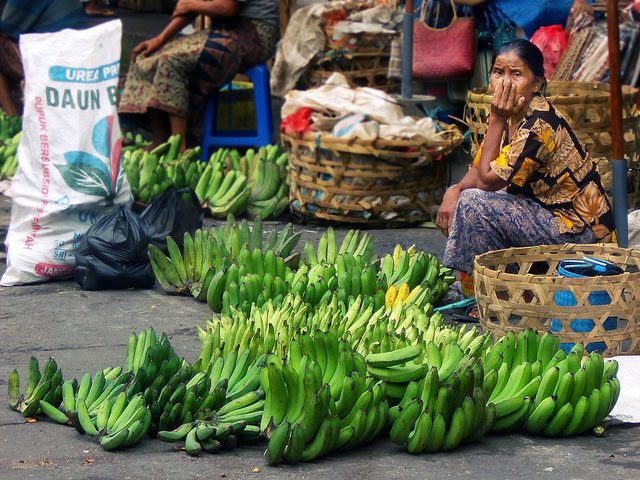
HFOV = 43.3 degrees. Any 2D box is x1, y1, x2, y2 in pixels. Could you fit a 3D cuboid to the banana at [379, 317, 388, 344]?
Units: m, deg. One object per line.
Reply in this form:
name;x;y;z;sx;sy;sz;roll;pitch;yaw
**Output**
banana;0.301;0.422;3.806;0.022;0.112;0.037;18;-23;-5

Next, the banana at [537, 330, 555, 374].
banana;1.039;0.499;3.713;0.048;0.205;0.061;-8;14;-41

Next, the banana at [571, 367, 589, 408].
banana;1.145;0.644;3.558;0.047;0.198;0.061;9;1;-8

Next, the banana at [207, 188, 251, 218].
banana;-0.722;-0.351;6.487;0.358;0.080;0.127;-8;-21;-34

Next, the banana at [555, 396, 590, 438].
banana;1.123;0.780;3.577;0.064;0.246;0.084;-3;32;-33

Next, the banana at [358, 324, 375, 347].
banana;0.230;0.439;3.800;0.036;0.146;0.053;17;-34;24

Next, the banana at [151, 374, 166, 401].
banana;-0.700;0.633;3.531;0.030;0.042;0.125;15;47;-1

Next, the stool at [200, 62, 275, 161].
stool;-0.775;-1.350;8.274;0.822;1.234;0.836;0;12;6

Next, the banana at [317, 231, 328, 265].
banana;0.028;0.049;5.182;0.050;0.209;0.064;5;-6;-20

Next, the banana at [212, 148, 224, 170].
banana;-0.903;-0.746;7.244;0.053;0.217;0.071;19;-36;3

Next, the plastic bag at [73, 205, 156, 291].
plastic bag;-1.271;0.040;5.099;0.544;0.556;0.318;-1;17;-35

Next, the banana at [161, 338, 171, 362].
banana;-0.703;0.502;3.704;0.025;0.100;0.032;-1;-1;-28

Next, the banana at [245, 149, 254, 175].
banana;-0.616;-0.717;7.161;0.064;0.211;0.054;-9;-19;17

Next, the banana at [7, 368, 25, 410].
banana;-1.375;0.658;3.660;0.064;0.189;0.161;-1;6;-25

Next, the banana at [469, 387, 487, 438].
banana;0.668;0.724;3.446;0.047;0.214;0.068;-19;29;-40

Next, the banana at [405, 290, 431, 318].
banana;0.525;0.340;4.313;0.035;0.060;0.157;20;45;22

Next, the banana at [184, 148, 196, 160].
banana;-1.162;-0.777;7.287;0.040;0.138;0.049;41;-41;-17

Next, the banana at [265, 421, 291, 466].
banana;-0.167;0.818;3.265;0.060;0.213;0.068;0;38;-25

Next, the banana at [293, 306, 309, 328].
banana;-0.095;0.372;3.962;0.030;0.119;0.042;28;34;-2

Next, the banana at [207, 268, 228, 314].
banana;-0.584;0.287;4.648;0.066;0.230;0.160;11;11;15

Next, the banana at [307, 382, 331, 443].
banana;-0.001;0.709;3.318;0.075;0.239;0.046;10;7;26

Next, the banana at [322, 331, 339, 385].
banana;0.055;0.500;3.546;0.052;0.258;0.080;-3;5;-35

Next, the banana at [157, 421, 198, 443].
banana;-0.594;0.805;3.419;0.140;0.042;0.047;-17;55;-34

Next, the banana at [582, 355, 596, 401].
banana;1.197;0.604;3.578;0.043;0.198;0.061;-5;5;-36

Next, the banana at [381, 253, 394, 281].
banana;0.418;0.154;4.934;0.056;0.053;0.179;21;45;-8

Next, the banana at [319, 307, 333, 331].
banana;0.031;0.383;3.957;0.026;0.047;0.131;-3;38;32

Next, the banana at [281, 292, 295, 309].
banana;-0.162;0.312;4.208;0.034;0.045;0.123;5;30;13

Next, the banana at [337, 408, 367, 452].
banana;0.133;0.785;3.395;0.038;0.187;0.064;12;24;-41

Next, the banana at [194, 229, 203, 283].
banana;-0.752;0.094;5.025;0.055;0.306;0.099;1;-1;23

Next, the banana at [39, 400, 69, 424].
banana;-1.167;0.750;3.544;0.179;0.098;0.075;6;7;43

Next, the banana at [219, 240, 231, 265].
banana;-0.583;0.069;4.993;0.043;0.175;0.060;-7;23;11

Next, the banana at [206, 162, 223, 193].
banana;-0.903;-0.577;6.925;0.061;0.318;0.105;16;-20;4

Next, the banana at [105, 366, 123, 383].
banana;-0.940;0.608;3.693;0.031;0.040;0.120;7;29;34

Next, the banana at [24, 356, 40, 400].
banana;-1.287;0.605;3.618;0.053;0.239;0.073;4;8;-30

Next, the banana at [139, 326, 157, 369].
banana;-0.789;0.473;3.766;0.044;0.229;0.076;19;-31;-6

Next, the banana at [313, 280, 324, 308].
banana;-0.002;0.293;4.501;0.038;0.156;0.049;14;-7;-29

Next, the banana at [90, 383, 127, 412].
banana;-0.918;0.684;3.513;0.116;0.025;0.040;-41;35;-21

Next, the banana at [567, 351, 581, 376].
banana;1.139;0.543;3.606;0.032;0.127;0.042;4;-19;-7

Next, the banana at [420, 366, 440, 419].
banana;0.475;0.627;3.440;0.048;0.241;0.075;-4;5;-27

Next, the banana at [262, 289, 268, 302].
banana;-0.292;0.298;4.382;0.025;0.061;0.053;1;5;-4

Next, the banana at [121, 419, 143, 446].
banana;-0.774;0.790;3.346;0.051;0.157;0.041;11;36;-30

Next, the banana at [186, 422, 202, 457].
banana;-0.531;0.834;3.409;0.049;0.037;0.150;2;39;1

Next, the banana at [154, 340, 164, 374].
banana;-0.732;0.520;3.678;0.031;0.126;0.040;0;1;-11

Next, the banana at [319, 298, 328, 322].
banana;0.017;0.348;4.086;0.024;0.037;0.099;-2;33;13

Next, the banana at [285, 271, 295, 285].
banana;-0.169;0.218;4.744;0.044;0.063;0.036;6;-30;24

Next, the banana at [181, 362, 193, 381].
banana;-0.593;0.576;3.636;0.017;0.045;0.057;0;32;10

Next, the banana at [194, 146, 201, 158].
banana;-1.108;-0.804;7.395;0.049;0.097;0.159;1;5;-6

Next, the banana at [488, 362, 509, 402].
banana;0.819;0.629;3.637;0.050;0.225;0.073;8;8;-28

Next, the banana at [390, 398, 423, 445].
banana;0.362;0.765;3.444;0.072;0.259;0.084;15;31;-19

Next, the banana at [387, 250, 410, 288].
banana;0.479;0.181;4.876;0.068;0.210;0.047;4;-35;52

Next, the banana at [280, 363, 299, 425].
banana;-0.122;0.625;3.446;0.092;0.286;0.058;8;13;19

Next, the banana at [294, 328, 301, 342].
banana;-0.096;0.427;3.658;0.016;0.057;0.020;16;-10;20

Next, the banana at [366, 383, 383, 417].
banana;0.247;0.657;3.445;0.037;0.170;0.057;25;-14;-26

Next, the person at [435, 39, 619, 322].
person;1.213;-0.354;4.739;0.990;1.543;0.751;-1;14;-4

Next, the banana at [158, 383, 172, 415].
banana;-0.662;0.672;3.483;0.034;0.138;0.046;13;0;-8

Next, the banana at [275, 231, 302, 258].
banana;-0.206;0.031;5.274;0.048;0.178;0.063;42;-8;-27

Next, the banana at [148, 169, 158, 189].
banana;-1.336;-0.490;6.490;0.037;0.154;0.049;12;8;-19
